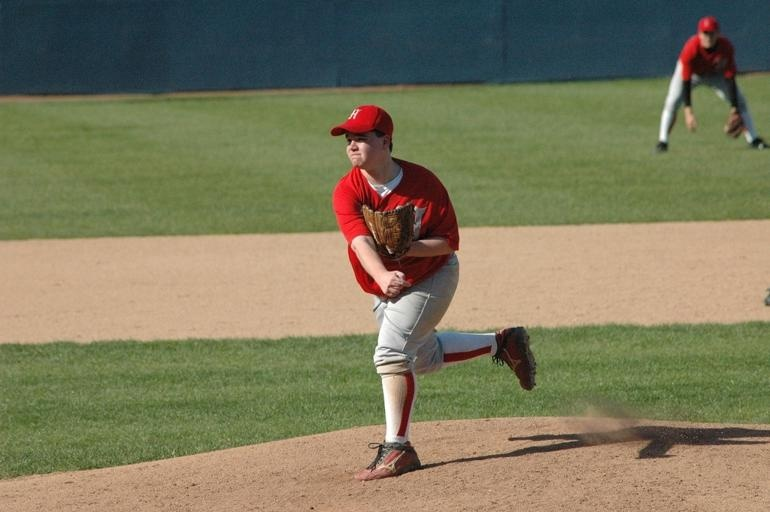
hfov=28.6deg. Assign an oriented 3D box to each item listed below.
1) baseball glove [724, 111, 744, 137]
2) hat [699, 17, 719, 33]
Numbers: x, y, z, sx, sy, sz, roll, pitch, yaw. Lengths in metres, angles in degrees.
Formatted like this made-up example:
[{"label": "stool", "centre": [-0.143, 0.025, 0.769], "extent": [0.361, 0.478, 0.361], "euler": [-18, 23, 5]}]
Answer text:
[{"label": "baseball glove", "centre": [6.139, -2.281, 26.486], "extent": [0.192, 0.375, 0.486], "euler": [1, -32, 11]}, {"label": "hat", "centre": [5.633, -3.976, 26.209], "extent": [0.354, 0.298, 0.546], "euler": [2, 5, 14]}]
